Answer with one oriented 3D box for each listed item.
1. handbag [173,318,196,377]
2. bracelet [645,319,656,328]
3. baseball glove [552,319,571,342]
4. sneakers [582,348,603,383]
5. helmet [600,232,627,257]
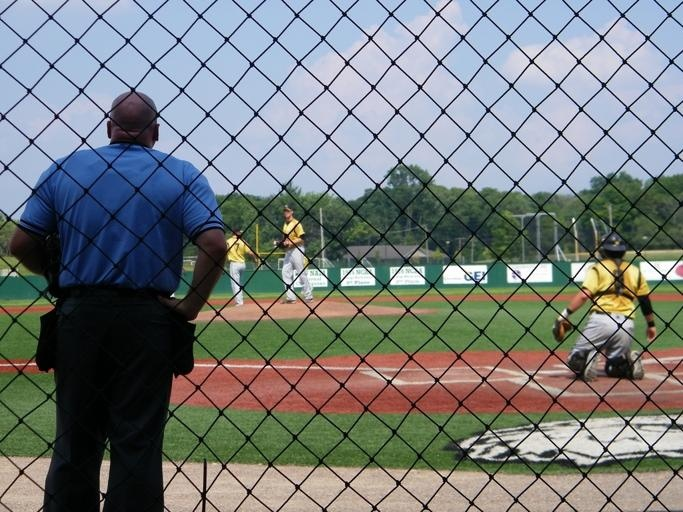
[{"bbox_3d":[-1.370,0.835,14.005,0.243,0.460,0.227,14,19,3],"label":"handbag"},{"bbox_3d":[3.548,0.774,18.091,0.086,0.081,0.086,0,-6,4],"label":"bracelet"},{"bbox_3d":[2.514,0.855,18.066,0.181,0.244,0.456,0,-2,8],"label":"baseball glove"},{"bbox_3d":[2.825,1.267,17.919,0.195,0.528,0.240,9,-12,9],"label":"sneakers"},{"bbox_3d":[3.093,-0.095,18.052,0.344,0.280,0.480,3,-1,0],"label":"helmet"}]
